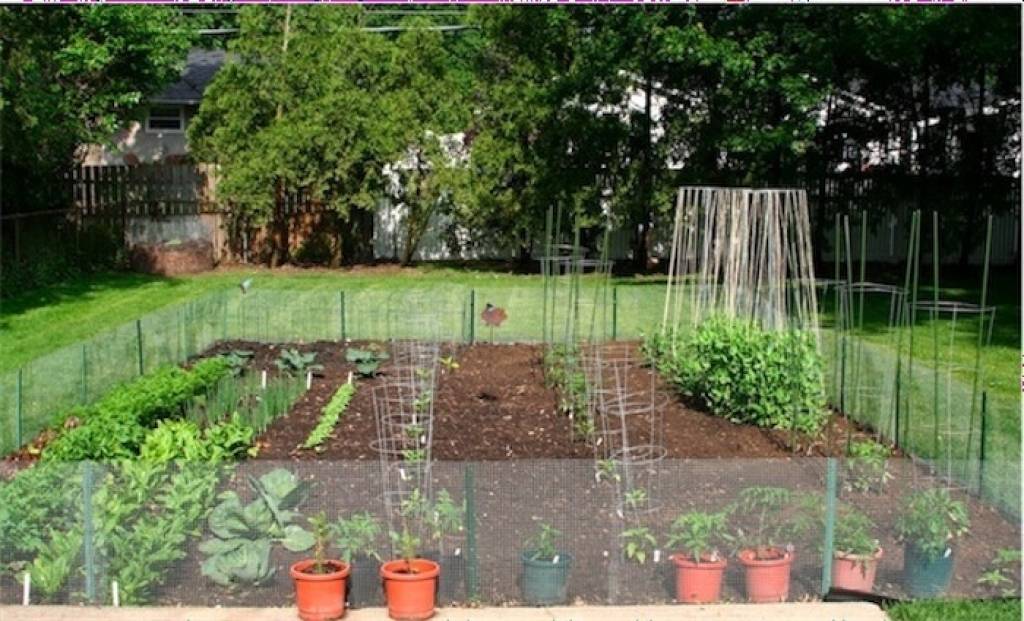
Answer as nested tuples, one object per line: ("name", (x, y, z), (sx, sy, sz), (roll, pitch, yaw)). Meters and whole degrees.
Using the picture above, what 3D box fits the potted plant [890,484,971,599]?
("potted plant", (3.991, 2.282, 8.705), (0.767, 1.123, 0.697), (10, 12, 41))

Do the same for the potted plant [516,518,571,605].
("potted plant", (0.289, 2.382, 8.448), (0.493, 0.714, 0.407), (2, 8, 11))

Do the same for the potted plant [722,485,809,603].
("potted plant", (2.552, 2.390, 9.080), (0.658, 1.032, 0.820), (0, -17, 19))

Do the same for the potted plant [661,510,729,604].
("potted plant", (1.756, 2.354, 8.525), (0.425, 0.604, 0.429), (-2, 4, 10))

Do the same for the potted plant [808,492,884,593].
("potted plant", (3.173, 2.281, 8.568), (0.520, 0.809, 0.494), (3, 8, 16))
